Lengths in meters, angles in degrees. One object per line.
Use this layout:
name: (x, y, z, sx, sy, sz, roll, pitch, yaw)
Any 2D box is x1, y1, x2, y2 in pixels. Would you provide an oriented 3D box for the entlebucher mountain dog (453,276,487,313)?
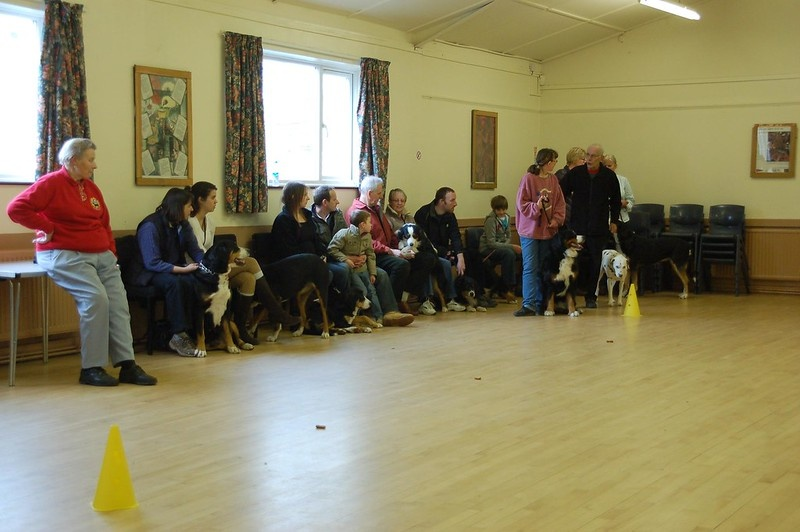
entlebucher mountain dog: (0.968, 0.325, 8.122, 0.347, 0.468, 1.098, -15, 8, 4)

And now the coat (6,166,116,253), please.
coat: (-2.849, -0.451, 4.754, 0.425, 0.623, 0.768, -7, -9, 22)

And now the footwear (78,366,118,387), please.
footwear: (-2.418, 0.891, 4.642, 0.291, 0.126, 0.140, 1, 1, 9)

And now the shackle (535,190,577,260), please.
shackle: (1.984, -0.440, 7.361, 0.171, 0.430, 0.539, -37, 32, 22)

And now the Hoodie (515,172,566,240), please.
Hoodie: (1.805, -0.785, 7.359, 0.630, 0.839, 0.437, -7, 13, -20)

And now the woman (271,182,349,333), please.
woman: (-1.029, -0.169, 6.426, 0.715, 1.469, 0.583, 3, 7, 44)

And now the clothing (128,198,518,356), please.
clothing: (-0.948, 0.140, 6.381, 3.145, 2.437, 1.391, -3, 6, 1)

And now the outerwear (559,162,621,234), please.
outerwear: (2.535, -0.887, 7.666, 1.071, 1.159, 0.609, 0, 1, -1)

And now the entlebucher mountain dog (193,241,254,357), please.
entlebucher mountain dog: (-1.681, 0.276, 5.437, 0.656, 1.066, 0.638, 10, 7, -9)

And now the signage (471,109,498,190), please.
signage: (1.415, -1.951, 9.642, 0.065, 1.252, 0.723, 6, 10, 41)

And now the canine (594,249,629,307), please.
canine: (3.098, 0.097, 8.355, 0.330, 0.722, 1.156, 0, 18, 9)

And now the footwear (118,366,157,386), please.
footwear: (-2.122, 0.897, 4.713, 0.347, 0.147, 0.139, 1, 1, 10)
